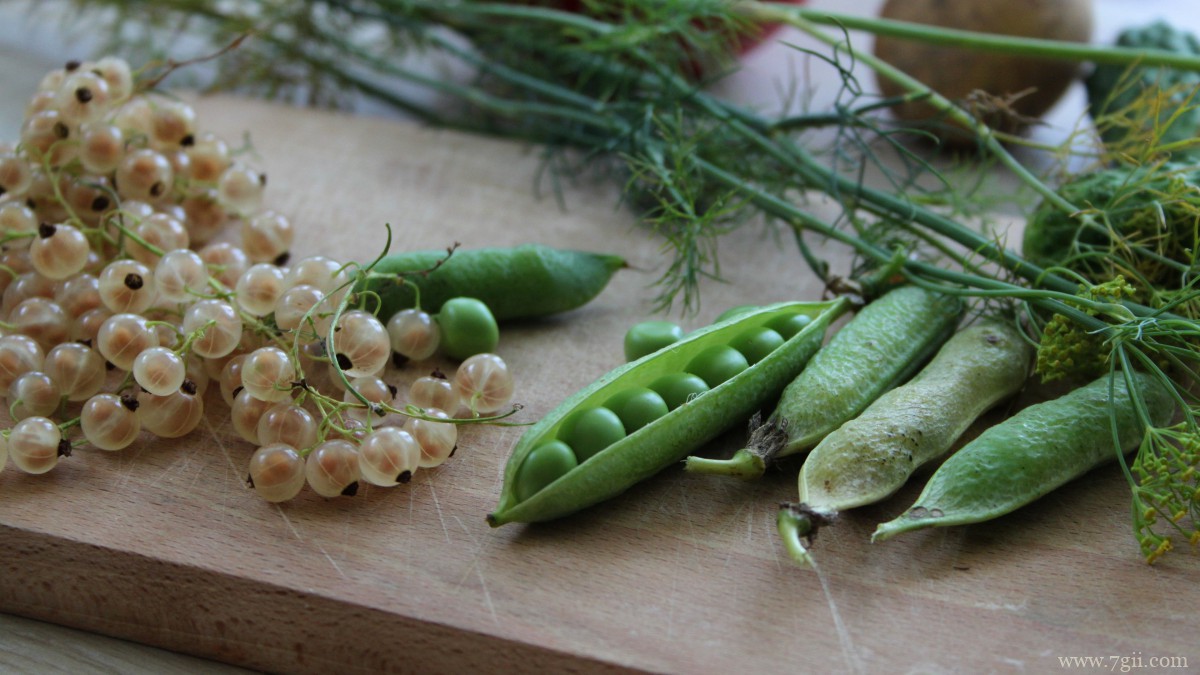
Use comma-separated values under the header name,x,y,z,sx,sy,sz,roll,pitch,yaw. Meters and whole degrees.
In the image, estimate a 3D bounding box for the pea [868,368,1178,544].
name,x,y,z,sx,sy,sz,roll,pitch,yaw
pea,0.530,0.163,1.422,0.388,0.166,0.113,-14,45,-38

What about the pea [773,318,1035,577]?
name,x,y,z,sx,sy,sz,roll,pitch,yaw
pea,0.409,0.128,1.499,0.461,0.110,0.128,-36,43,-16
